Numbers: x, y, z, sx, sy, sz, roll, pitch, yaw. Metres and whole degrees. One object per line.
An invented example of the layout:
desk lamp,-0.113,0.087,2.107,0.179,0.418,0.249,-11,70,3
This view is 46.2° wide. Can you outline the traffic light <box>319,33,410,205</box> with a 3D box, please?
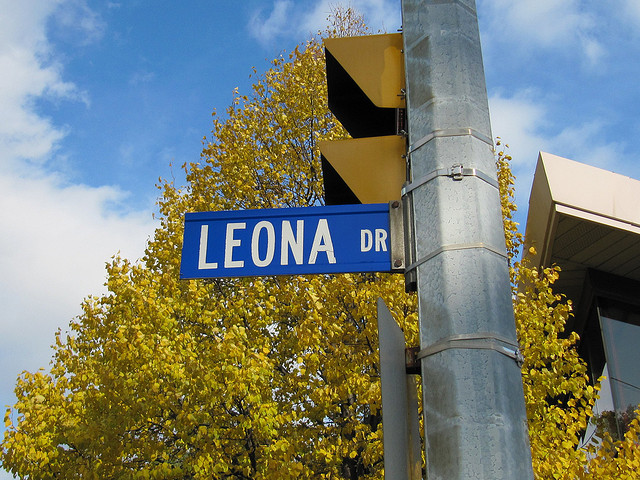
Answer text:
traffic light,0.467,-1.209,7.538,0.897,1.598,0.812,4,-33,1
